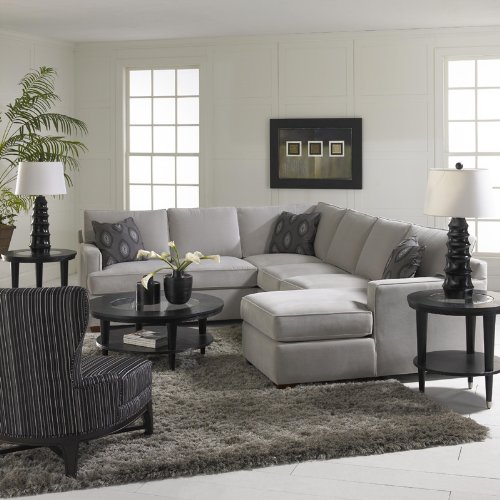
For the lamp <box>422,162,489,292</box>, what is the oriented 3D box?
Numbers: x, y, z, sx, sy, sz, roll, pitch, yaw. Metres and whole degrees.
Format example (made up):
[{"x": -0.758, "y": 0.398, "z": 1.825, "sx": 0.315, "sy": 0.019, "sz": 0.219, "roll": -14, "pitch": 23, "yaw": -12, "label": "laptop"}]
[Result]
[{"x": 1.144, "y": -0.113, "z": 3.017, "sx": 0.333, "sy": 0.758, "sz": 0.300, "roll": 1, "pitch": 7, "yaw": 4, "label": "lamp"}]

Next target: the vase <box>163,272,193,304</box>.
[{"x": -0.486, "y": 0.253, "z": 3.640, "sx": 0.226, "sy": 0.233, "sz": 0.211, "roll": 1, "pitch": -1, "yaw": -22, "label": "vase"}]

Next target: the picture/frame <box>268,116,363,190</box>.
[{"x": 0.794, "y": -1.211, "z": 6.649, "sx": 1.110, "sy": 0.803, "sz": 0.095, "roll": 4, "pitch": 14, "yaw": 21, "label": "picture/frame"}]

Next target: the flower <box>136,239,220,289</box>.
[{"x": -0.505, "y": 0.100, "z": 3.744, "sx": 0.538, "sy": 0.170, "sz": 0.494, "roll": 13, "pitch": 13, "yaw": 19, "label": "flower"}]

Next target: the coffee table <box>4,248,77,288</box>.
[{"x": -1.852, "y": 0.070, "z": 4.887, "sx": 0.635, "sy": 0.408, "sz": 0.591, "roll": 0, "pitch": 10, "yaw": -4, "label": "coffee table"}]

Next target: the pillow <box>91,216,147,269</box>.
[{"x": -1.204, "y": -0.091, "z": 4.860, "sx": 0.145, "sy": 0.422, "sz": 0.484, "roll": -27, "pitch": -13, "yaw": 36, "label": "pillow"}]

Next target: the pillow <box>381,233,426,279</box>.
[{"x": 1.048, "y": 0.055, "z": 3.706, "sx": 0.162, "sy": 0.310, "sz": 0.314, "roll": 1, "pitch": 34, "yaw": -1, "label": "pillow"}]

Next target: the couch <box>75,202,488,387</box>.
[{"x": 0.351, "y": 0.315, "z": 4.211, "sx": 1.911, "sy": 0.785, "sz": 2.018, "roll": 0, "pitch": 2, "yaw": -14, "label": "couch"}]

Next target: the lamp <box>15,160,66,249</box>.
[{"x": -1.888, "y": -0.412, "z": 4.914, "sx": 0.400, "sy": 0.835, "sz": 0.829, "roll": -2, "pitch": 7, "yaw": -20, "label": "lamp"}]
